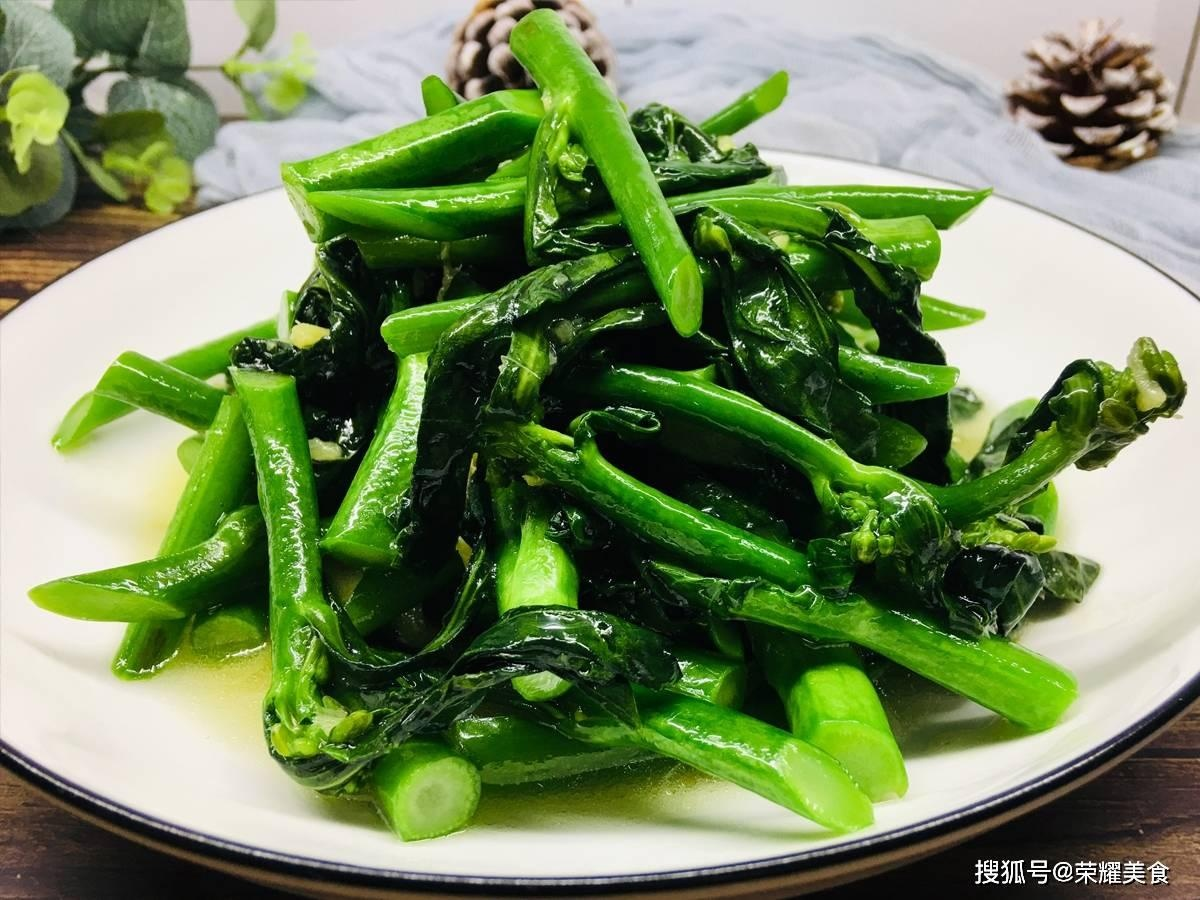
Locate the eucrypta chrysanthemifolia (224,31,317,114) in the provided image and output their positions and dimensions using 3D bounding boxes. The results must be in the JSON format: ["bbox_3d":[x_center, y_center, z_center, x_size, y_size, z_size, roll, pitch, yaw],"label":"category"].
[{"bbox_3d":[-1.639,-1.872,5.756,0.356,0.431,0.212,-8,20,-16],"label":"eucrypta chrysanthemifolia"}]

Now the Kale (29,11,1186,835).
[{"bbox_3d":[-0.034,0.033,2.988,2.580,1.382,2.059,13,52,16],"label":"Kale"}]
